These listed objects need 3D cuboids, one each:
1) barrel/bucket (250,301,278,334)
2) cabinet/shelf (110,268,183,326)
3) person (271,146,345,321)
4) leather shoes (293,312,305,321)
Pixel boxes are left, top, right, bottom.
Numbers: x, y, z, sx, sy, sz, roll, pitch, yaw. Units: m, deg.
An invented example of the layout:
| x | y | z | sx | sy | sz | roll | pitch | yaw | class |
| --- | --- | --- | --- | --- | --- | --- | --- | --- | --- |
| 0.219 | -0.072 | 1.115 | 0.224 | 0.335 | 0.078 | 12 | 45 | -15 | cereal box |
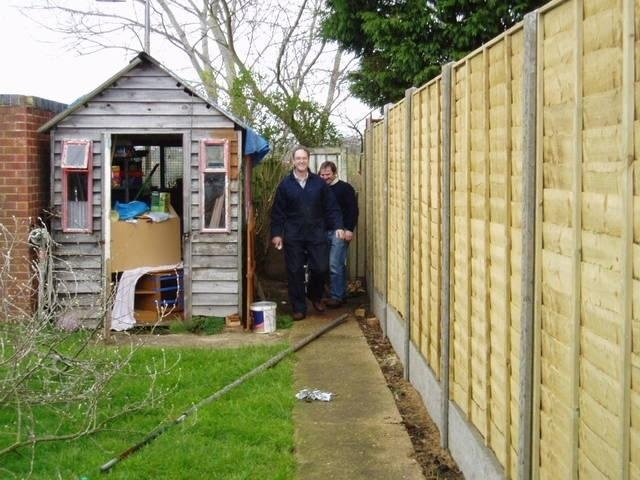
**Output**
| x | y | z | sx | sy | sz | roll | pitch | yaw | class |
| --- | --- | --- | --- | --- | --- | --- | --- | --- | --- |
| -0.769 | 1.049 | 8.217 | 0.340 | 0.402 | 0.370 | 0 | 1 | 0 | barrel/bucket |
| -2.410 | 0.823 | 8.816 | 0.678 | 0.839 | 0.537 | 0 | -3 | -10 | cabinet/shelf |
| -0.206 | -0.085 | 8.820 | 1.045 | 2.477 | 0.674 | 2 | 6 | -6 | person |
| -0.316 | 1.107 | 8.752 | 0.075 | 0.094 | 0.204 | -1 | -7 | 9 | leather shoes |
